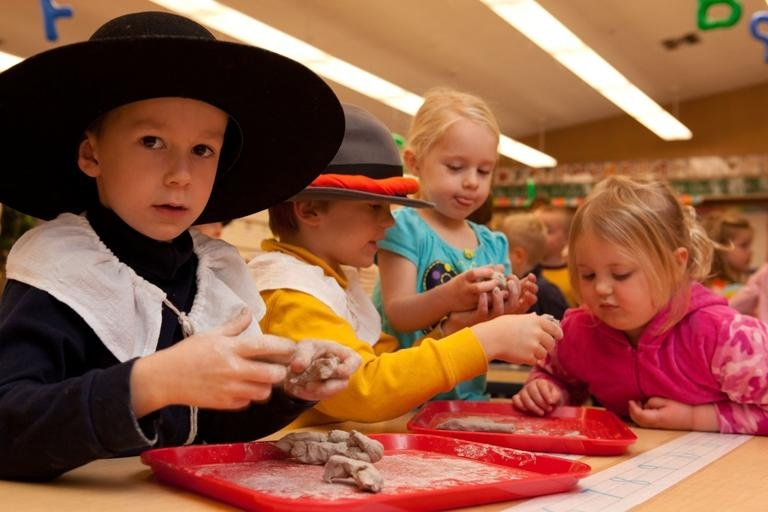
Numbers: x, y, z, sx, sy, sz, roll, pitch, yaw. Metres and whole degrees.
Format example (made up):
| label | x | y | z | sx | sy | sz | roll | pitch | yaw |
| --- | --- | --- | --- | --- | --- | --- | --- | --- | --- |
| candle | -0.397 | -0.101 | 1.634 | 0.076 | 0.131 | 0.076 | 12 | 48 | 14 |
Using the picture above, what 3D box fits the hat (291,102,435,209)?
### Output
| label | x | y | z | sx | sy | sz | roll | pitch | yaw |
| --- | --- | --- | --- | --- | --- | --- | --- | --- | --- |
| hat | -0.050 | -0.267 | 1.954 | 0.343 | 0.120 | 0.304 | -1 | -8 | 23 |
